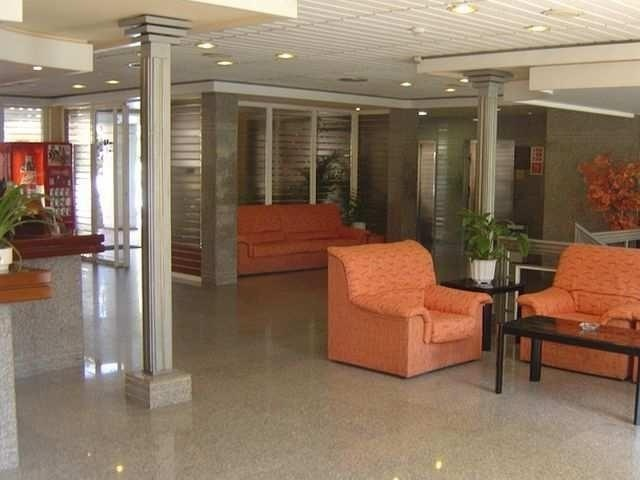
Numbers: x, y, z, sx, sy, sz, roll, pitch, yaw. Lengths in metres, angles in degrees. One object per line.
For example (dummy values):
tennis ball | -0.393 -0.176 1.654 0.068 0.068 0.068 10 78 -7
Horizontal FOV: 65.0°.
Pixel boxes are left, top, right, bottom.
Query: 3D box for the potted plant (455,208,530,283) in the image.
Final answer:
potted plant | 2.241 0.024 6.592 0.925 0.957 1.071 0 7 -10

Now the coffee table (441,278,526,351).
coffee table | 2.079 0.777 6.480 0.979 0.846 0.929 -7 11 -36

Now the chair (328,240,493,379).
chair | 0.897 0.660 5.662 1.702 1.345 1.438 -4 5 -40
